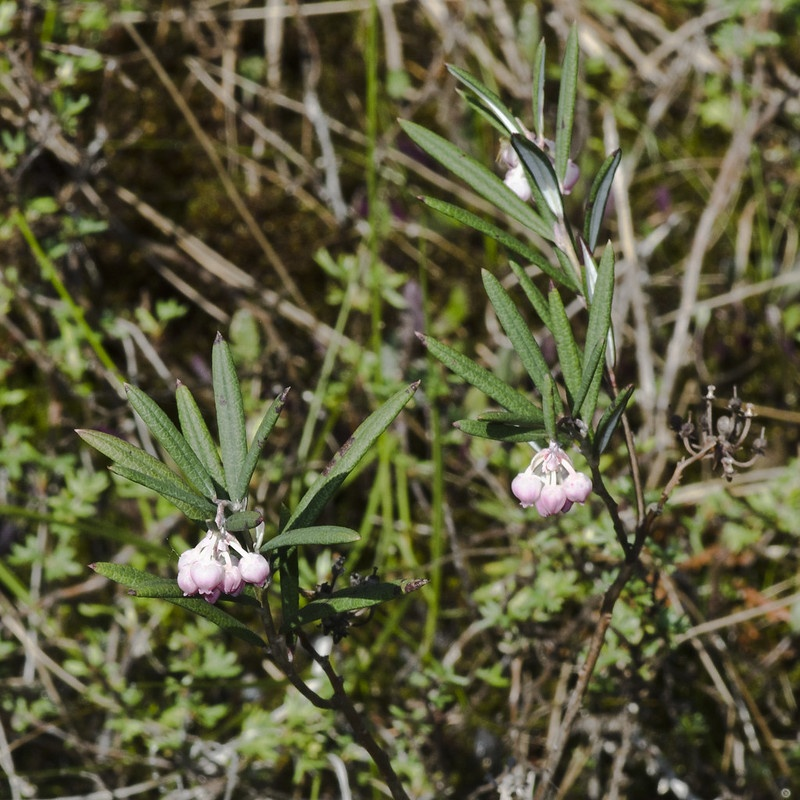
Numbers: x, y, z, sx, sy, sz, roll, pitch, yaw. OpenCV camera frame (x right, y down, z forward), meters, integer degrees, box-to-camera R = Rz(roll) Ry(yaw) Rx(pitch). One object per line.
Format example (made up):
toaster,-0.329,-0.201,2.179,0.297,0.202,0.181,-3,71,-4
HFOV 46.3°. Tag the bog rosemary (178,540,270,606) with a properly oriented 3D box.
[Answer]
bog rosemary,-0.361,0.349,1.888,0.121,0.165,0.154,-40,49,31

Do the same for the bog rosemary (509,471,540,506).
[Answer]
bog rosemary,0.266,0.188,1.955,0.075,0.068,0.074,-6,79,8

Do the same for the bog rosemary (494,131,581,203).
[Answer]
bog rosemary,0.328,-0.546,2.180,0.199,0.071,0.182,0,90,25

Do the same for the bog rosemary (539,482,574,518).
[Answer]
bog rosemary,0.315,0.216,1.940,0.072,0.058,0.065,1,84,-31
